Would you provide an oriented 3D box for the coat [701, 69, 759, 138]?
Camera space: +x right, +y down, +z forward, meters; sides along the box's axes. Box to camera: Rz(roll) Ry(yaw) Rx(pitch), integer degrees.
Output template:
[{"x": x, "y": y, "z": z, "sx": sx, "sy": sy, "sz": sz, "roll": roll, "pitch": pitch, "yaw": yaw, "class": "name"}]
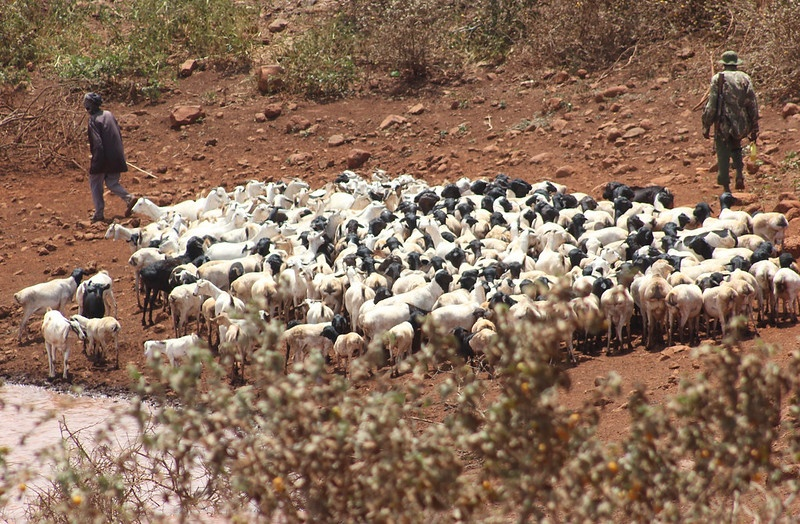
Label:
[{"x": 6.684, "y": -3.186, "z": 21.671, "sx": 1.035, "sy": 1.396, "sz": 0.521, "roll": -3, "pitch": 19, "yaw": 17, "class": "coat"}]
